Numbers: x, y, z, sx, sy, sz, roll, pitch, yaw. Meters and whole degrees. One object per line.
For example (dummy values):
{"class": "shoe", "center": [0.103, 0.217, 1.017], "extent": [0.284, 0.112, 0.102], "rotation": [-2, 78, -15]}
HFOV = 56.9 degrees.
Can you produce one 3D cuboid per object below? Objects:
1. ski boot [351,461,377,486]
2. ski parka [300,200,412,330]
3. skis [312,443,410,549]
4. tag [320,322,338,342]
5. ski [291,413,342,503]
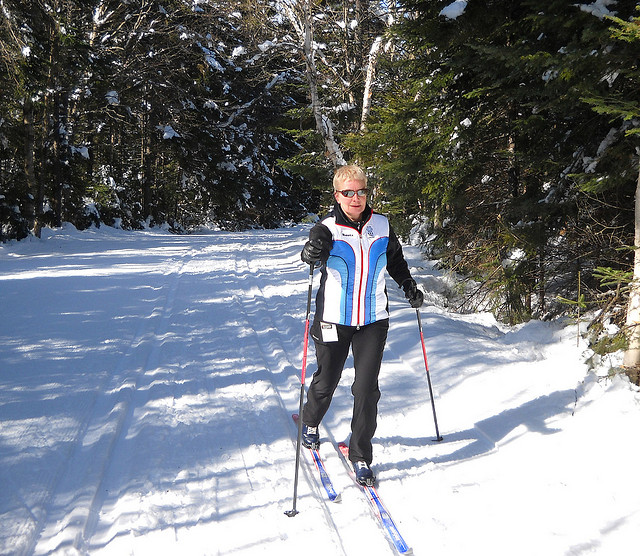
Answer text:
{"class": "ski boot", "center": [0.410, 1.775, 5.354], "extent": [0.104, 0.145, 0.312], "rotation": [0, -3, -13]}
{"class": "ski parka", "center": [0.310, -0.140, 5.463], "extent": [0.986, 1.187, 0.397], "rotation": [-8, 9, -11]}
{"class": "skis", "center": [0.354, 1.947, 5.193], "extent": [0.130, 0.113, 1.283], "rotation": [-8, 27, -15]}
{"class": "tag", "center": [0.089, 0.482, 5.350], "extent": [0.125, 0.197, 0.020], "rotation": [-8, -12, -2]}
{"class": "ski", "center": [-0.116, 1.596, 5.930], "extent": [0.164, 0.208, 1.698], "rotation": [-1, 21, -16]}
